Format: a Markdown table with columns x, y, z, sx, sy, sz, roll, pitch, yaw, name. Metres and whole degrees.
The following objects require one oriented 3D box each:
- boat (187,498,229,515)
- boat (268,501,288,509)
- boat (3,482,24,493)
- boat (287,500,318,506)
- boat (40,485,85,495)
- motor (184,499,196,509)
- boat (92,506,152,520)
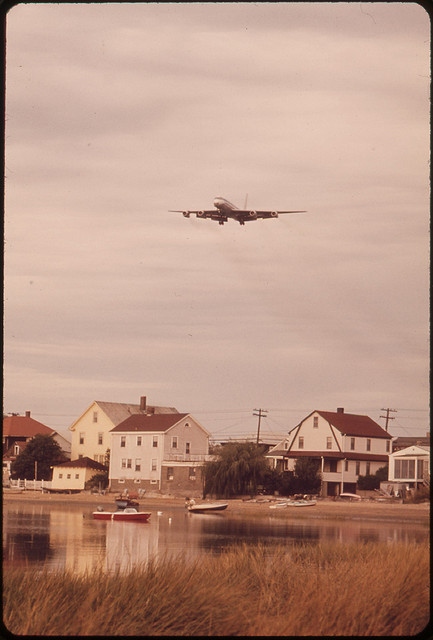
| x | y | z | sx | sy | sz | roll | pitch | yaw | name |
| --- | --- | --- | --- | --- | --- | --- | --- | --- | --- |
| -0.641 | 10.451 | 58.207 | 2.588 | 1.058 | 0.875 | 1 | -4 | 16 | boat |
| 3.599 | 10.518 | 58.853 | 0.823 | 0.300 | 2.144 | -2 | -10 | 16 | boat |
| -14.408 | 11.856 | 73.583 | 1.342 | 0.671 | 4.371 | 2 | -10 | -10 | boat |
| 5.034 | 10.602 | 60.205 | 1.366 | 0.312 | 0.374 | -1 | -1 | -26 | boat |
| -11.175 | 12.137 | 74.322 | 3.149 | 0.529 | 1.594 | -6 | -11 | 33 | boat |
| -1.369 | 10.589 | 59.100 | 0.692 | 0.323 | 0.535 | -15 | 7 | -9 | motor |
| -4.552 | 9.557 | 51.292 | 2.678 | 0.522 | 2.767 | 0 | -9 | 2 | boat |
